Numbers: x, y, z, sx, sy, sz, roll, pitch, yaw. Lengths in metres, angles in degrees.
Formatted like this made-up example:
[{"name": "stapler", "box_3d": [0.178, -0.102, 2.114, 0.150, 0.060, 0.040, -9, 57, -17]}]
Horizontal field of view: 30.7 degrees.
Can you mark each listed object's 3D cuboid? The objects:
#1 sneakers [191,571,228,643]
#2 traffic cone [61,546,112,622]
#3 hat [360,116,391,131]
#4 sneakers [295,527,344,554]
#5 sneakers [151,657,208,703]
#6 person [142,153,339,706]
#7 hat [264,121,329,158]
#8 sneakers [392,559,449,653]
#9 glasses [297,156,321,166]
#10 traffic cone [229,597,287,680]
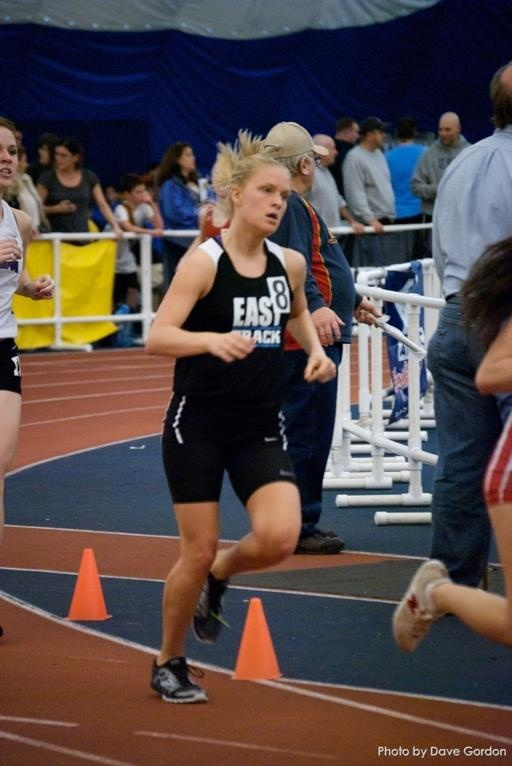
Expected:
[{"name": "sneakers", "box_3d": [-0.154, 0.747, 3.095, 0.098, 0.253, 0.121, 13, 5, 4]}, {"name": "traffic cone", "box_3d": [-0.677, 0.831, 3.871, 0.265, 0.376, 0.233, 1, -3, -3]}, {"name": "hat", "box_3d": [1.651, -3.427, 12.764, 0.376, 0.168, 0.229, -3, 13, -4]}, {"name": "sneakers", "box_3d": [0.338, 0.836, 4.918, 0.299, 0.110, 0.103, -3, -4, 1]}, {"name": "sneakers", "box_3d": [-0.243, 0.895, 2.869, 0.097, 0.085, 0.207, 5, -2, -37]}, {"name": "person", "box_3d": [-0.079, 0.131, 2.897, 0.520, 1.650, 0.656, 1, 3, 25]}, {"name": "hat", "box_3d": [0.207, -1.118, 4.503, 0.297, 0.143, 0.183, -3, 27, -12]}, {"name": "sneakers", "box_3d": [0.490, 0.707, 2.968, 0.123, 0.337, 0.143, 24, 40, -15]}, {"name": "glasses", "box_3d": [0.261, -1.040, 4.506, 0.105, 0.026, 0.095, 0, 2, 24]}, {"name": "traffic cone", "box_3d": [-0.001, 0.834, 3.073, 0.163, 0.239, 0.151, -1, -1, 13]}]
